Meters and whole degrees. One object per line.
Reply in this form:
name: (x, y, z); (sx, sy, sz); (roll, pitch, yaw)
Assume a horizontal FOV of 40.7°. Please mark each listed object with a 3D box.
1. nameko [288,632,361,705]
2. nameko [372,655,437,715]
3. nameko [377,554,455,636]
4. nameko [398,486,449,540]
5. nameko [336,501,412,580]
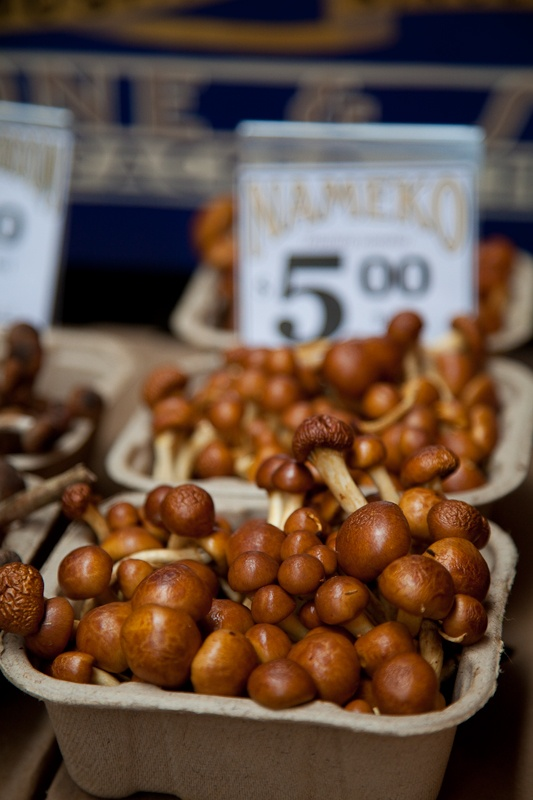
nameko: (0.048, 0.223, 0.604); (0.051, 0.044, 0.061); (-12, 18, -33)
nameko: (0.110, 0.225, 0.562); (0.047, 0.045, 0.042); (19, 42, -8)
nameko: (0.131, 0.160, 0.618); (0.076, 0.055, 0.075); (9, 13, 11)
nameko: (0.156, 0.122, 0.757); (0.051, 0.047, 0.051); (12, -19, -17)
nameko: (0.097, 0.128, 0.640); (0.050, 0.044, 0.058); (-23, -18, -4)
